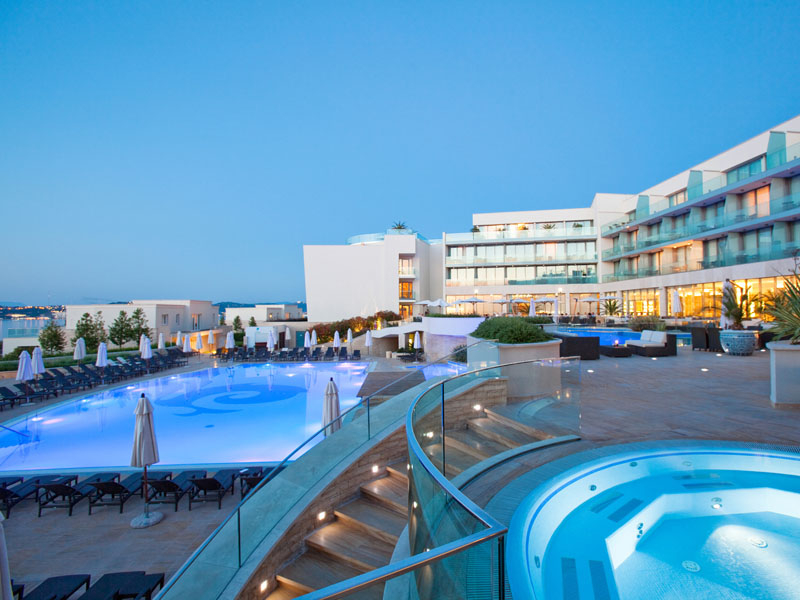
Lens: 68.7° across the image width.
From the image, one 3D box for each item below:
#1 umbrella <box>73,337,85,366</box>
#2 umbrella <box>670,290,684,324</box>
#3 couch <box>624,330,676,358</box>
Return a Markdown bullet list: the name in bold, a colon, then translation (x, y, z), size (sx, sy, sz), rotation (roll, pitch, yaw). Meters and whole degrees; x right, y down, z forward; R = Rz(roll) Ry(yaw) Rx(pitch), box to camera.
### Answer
- **umbrella**: translation (-18.822, 2.838, 34.138), size (0.488, 1.361, 2.683), rotation (-3, -2, -30)
- **umbrella**: translation (19.548, 0.074, 41.108), size (0.757, 2.292, 1.130), rotation (-4, -1, 24)
- **couch**: translation (11.791, 2.064, 27.188), size (1.213, 0.942, 1.799), rotation (0, -3, 0)
